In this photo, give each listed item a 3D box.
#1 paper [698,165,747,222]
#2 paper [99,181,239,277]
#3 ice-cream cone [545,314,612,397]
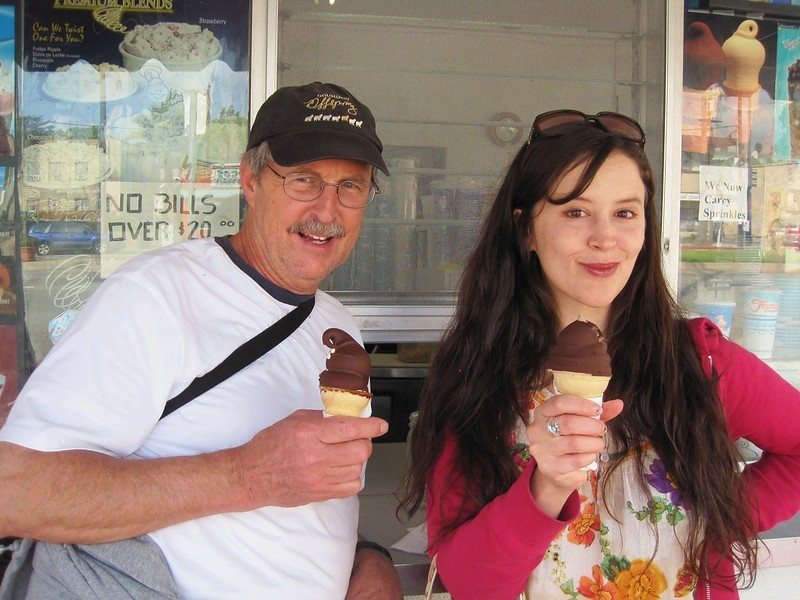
[{"bbox_3d":[1.939,-0.654,4.898,0.331,0.356,0.016,2,0,-5],"label":"paper"},{"bbox_3d":[-1.216,-0.361,4.121,0.572,0.404,0.008,1,1,-6],"label":"paper"},{"bbox_3d":[0.634,0.213,2.951,0.261,0.354,0.250,5,-9,-3],"label":"ice-cream cone"}]
